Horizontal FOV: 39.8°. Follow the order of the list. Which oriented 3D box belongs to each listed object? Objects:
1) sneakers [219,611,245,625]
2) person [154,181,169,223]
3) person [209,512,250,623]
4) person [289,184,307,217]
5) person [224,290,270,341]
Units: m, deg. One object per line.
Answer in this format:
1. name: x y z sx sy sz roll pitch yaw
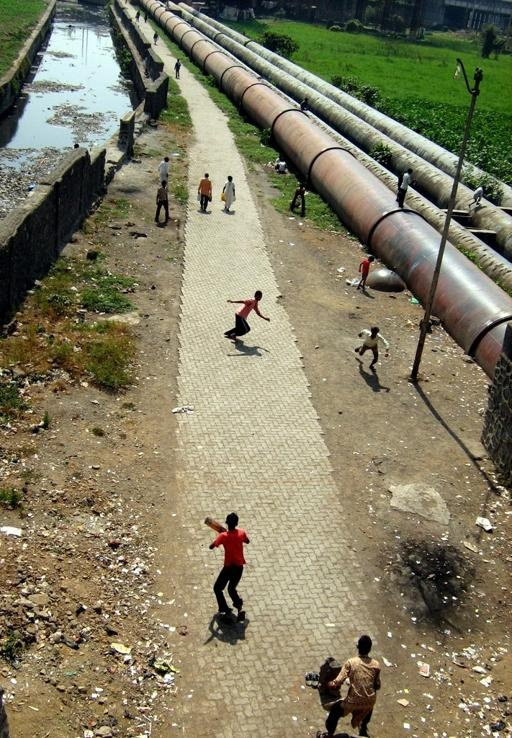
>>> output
1. sneakers: -0.241 2.417 6.877 0.308 0.109 0.095 -2 44 -19
2. person: -2.148 -3.897 16.592 0.335 0.852 1.014 5 26 -9
3. person: -0.238 1.887 6.813 0.433 1.155 0.493 8 27 -4
4. person: 1.179 -4.587 18.899 0.454 0.821 1.160 10 26 1
5. person: -0.183 -0.901 11.788 0.491 1.059 0.729 3 28 -14
